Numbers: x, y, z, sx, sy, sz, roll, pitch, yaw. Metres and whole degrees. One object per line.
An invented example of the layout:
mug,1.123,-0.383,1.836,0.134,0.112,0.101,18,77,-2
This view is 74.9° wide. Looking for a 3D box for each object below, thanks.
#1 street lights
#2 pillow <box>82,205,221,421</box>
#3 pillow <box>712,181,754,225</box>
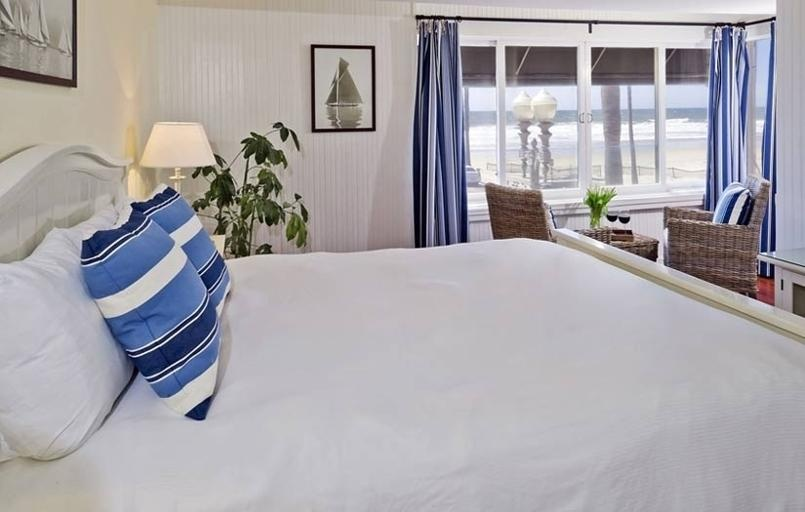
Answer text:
street lights,1.276,-1.161,5.229,0.459,0.939,0.096,-5,13,-18
pillow,-0.810,0.211,1.755,0.256,0.479,0.602,-7,9,-11
pillow,2.494,-0.413,4.091,0.152,0.383,0.444,0,10,11
